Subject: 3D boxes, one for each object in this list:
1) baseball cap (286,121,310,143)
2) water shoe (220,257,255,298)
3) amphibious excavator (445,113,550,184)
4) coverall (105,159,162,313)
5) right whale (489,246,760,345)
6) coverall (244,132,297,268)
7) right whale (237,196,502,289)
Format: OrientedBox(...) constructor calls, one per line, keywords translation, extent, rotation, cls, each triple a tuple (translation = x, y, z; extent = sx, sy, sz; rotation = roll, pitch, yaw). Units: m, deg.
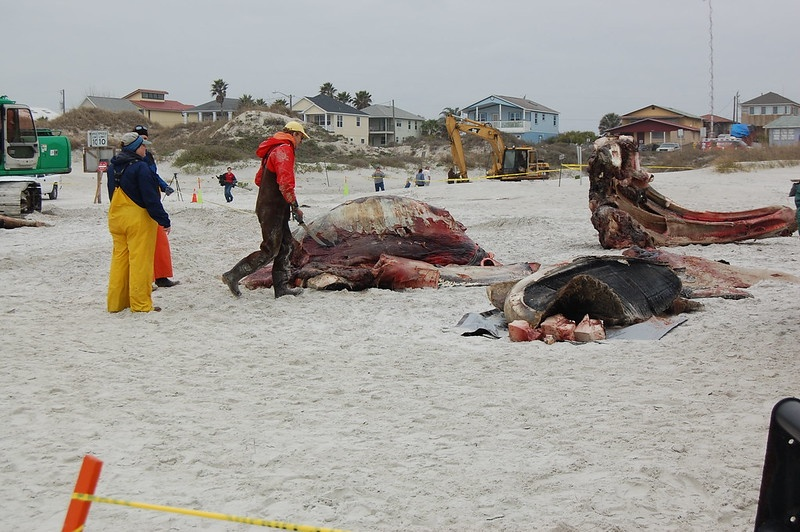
OrientedBox(translation=(-1.348, -1.898, 10.525), extent=(0.470, 0.238, 0.337), rotation=(2, 11, -26), cls="baseball cap")
OrientedBox(translation=(-2.248, 0.197, 10.627), extent=(0.259, 0.341, 0.780), rotation=(38, -12, 14), cls="water shoe")
OrientedBox(translation=(4.329, -5.492, 35.439), extent=(3.434, 3.097, 5.489), rotation=(3, 6, 34), cls="amphibious excavator")
OrientedBox(translation=(-3.530, -0.546, 10.216), extent=(0.834, 2.291, 0.742), rotation=(-7, 10, -44), cls="coverall")
OrientedBox(translation=(2.751, 0.328, 9.630), extent=(3.402, 0.876, 1.324), rotation=(-3, 6, -24), cls="right whale")
OrientedBox(translation=(-1.741, -0.778, 10.398), extent=(0.858, 2.400, 0.639), rotation=(0, 5, 4), cls="coverall")
OrientedBox(translation=(-0.339, -0.396, 11.592), extent=(2.436, 0.793, 1.918), rotation=(-2, 1, -10), cls="right whale")
